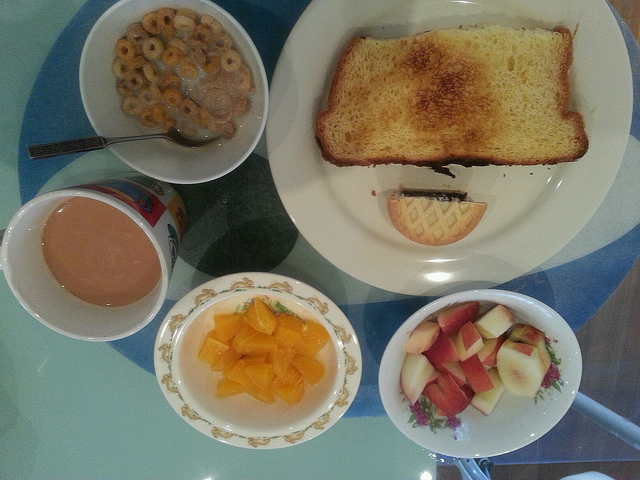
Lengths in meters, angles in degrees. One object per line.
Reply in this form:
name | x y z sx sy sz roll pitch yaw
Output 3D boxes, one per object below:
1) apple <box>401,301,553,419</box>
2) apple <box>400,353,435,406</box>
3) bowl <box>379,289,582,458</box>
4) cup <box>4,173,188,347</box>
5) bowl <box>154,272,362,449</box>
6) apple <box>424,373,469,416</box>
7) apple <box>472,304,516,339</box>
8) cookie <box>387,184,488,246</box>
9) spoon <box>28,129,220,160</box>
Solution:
apple | 0.491 0.403 1.802 0.386 0.157 0.297 -6 52 23
apple | 0.314 0.449 1.804 0.084 0.081 0.180 -19 40 2
bowl | 0.509 0.408 1.788 0.485 0.358 0.290 -4 36 -12
cup | -0.641 0.054 1.719 0.393 0.382 0.574 22 99 -1
bowl | -0.209 0.391 1.801 0.557 0.162 0.584 6 63 -13
apple | 0.413 0.505 1.806 0.083 0.074 0.121 -22 38 -33
apple | 0.556 0.266 1.773 0.121 0.065 0.085 -33 77 -5
cookie | 0.359 -0.097 1.731 0.282 0.092 0.178 4 96 -6
spoon | -0.564 -0.295 1.645 0.557 0.122 0.072 -5 105 -11
